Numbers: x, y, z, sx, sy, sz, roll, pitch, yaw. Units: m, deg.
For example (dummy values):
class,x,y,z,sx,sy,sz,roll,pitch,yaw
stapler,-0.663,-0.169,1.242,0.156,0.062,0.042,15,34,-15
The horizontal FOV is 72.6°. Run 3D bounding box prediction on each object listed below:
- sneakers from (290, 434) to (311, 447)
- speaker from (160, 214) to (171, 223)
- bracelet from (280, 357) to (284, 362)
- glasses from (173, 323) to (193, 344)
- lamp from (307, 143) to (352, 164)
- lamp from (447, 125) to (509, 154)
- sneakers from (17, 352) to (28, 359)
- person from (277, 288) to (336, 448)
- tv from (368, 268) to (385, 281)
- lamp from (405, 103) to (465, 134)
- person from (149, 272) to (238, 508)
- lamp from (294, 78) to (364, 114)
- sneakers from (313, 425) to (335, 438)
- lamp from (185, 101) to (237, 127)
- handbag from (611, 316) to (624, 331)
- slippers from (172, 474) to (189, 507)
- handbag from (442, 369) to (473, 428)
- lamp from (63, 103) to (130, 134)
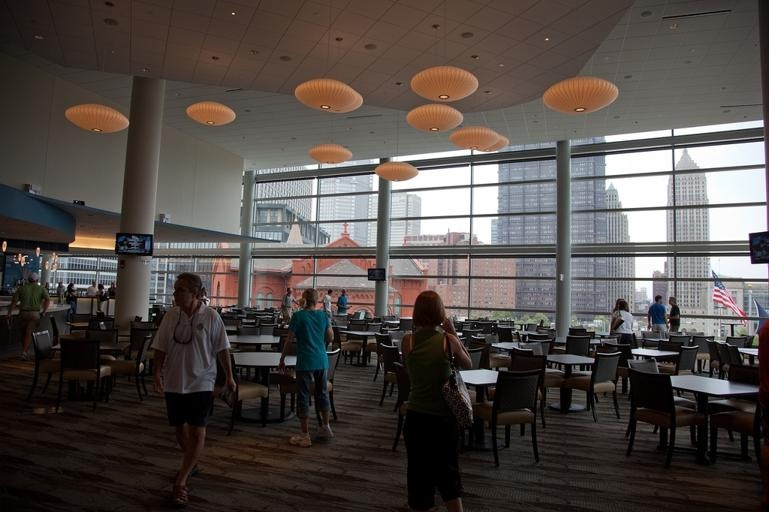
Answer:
class,x,y,z,sx,sy,sz,roll,pitch,yaw
sneakers,-1.256,2.797,7.926,0.375,0.169,0.153,1,-5,8
speaker,-7.744,-1.297,18.593,0.291,0.520,0.417,-2,1,-14
bracelet,-1.511,1.547,7.803,0.061,0.081,0.084,2,-10,-5
glasses,-2.504,0.988,6.528,0.244,0.213,0.069,3,6,9
lamp,-1.364,-2.657,13.381,0.975,0.465,0.473,3,6,9
lamp,2.275,-2.954,12.748,0.977,0.673,1.658,4,6,21
sneakers,-8.431,2.338,12.247,0.104,0.112,0.266,-9,-25,-36
person,-1.144,1.674,8.000,0.886,2.361,0.470,-4,8,-42
tv,-0.278,0.730,20.302,0.902,0.584,0.445,0,-6,9
lamp,1.046,-2.975,11.031,1.090,0.548,0.562,2,6,5
person,-2.392,1.649,6.597,0.919,2.849,0.467,-1,7,-23
lamp,-1.059,-3.169,10.110,1.242,0.569,0.638,1,6,-9
sneakers,-0.932,2.760,8.193,0.330,0.213,0.157,-4,-9,17
lamp,-3.986,-3.339,12.044,0.910,0.447,0.522,4,6,19
handbag,5.044,1.493,11.454,0.103,0.294,0.212,13,31,-33
slippers,-2.546,2.959,6.571,0.161,0.161,0.462,13,1,-31
handbag,0.789,1.550,5.670,0.324,0.641,0.201,3,6,7
lamp,-6.686,-3.212,12.155,1.199,0.329,1.142,1,-2,-6
